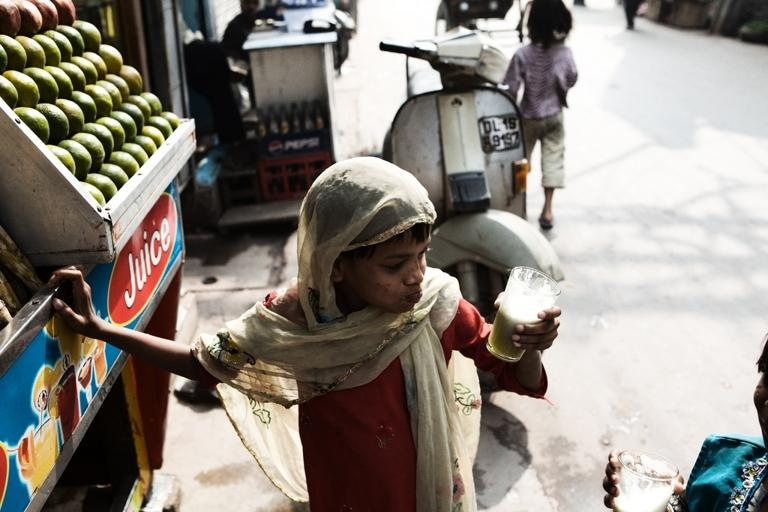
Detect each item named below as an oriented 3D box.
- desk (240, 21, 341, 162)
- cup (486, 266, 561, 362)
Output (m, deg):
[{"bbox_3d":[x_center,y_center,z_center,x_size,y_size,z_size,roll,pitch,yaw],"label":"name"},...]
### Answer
[{"bbox_3d":[-0.927,-1.705,6.402,0.846,1.469,0.994,4,36,11],"label":"desk"},{"bbox_3d":[0.581,0.249,2.612,0.244,0.367,0.298,15,36,21],"label":"cup"}]
